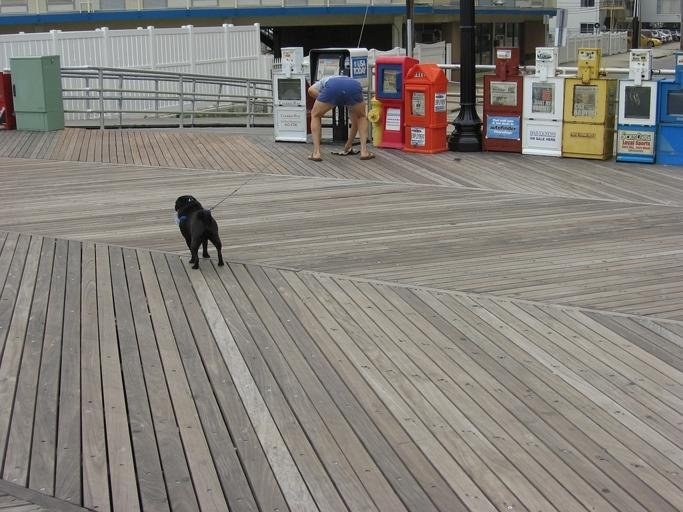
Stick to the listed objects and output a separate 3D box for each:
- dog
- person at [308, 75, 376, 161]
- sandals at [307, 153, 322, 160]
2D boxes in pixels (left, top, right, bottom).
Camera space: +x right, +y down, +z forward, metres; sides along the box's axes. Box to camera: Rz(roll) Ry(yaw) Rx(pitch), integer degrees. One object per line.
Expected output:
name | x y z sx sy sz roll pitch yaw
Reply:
dog | -1.368 -0.237 5.640 0.372 0.649 0.625 -7 14 -22
person | 0.049 -2.605 10.858 1.123 1.505 1.464 -2 6 6
sandals | -0.473 -1.757 10.328 0.239 0.133 0.217 -2 13 0
